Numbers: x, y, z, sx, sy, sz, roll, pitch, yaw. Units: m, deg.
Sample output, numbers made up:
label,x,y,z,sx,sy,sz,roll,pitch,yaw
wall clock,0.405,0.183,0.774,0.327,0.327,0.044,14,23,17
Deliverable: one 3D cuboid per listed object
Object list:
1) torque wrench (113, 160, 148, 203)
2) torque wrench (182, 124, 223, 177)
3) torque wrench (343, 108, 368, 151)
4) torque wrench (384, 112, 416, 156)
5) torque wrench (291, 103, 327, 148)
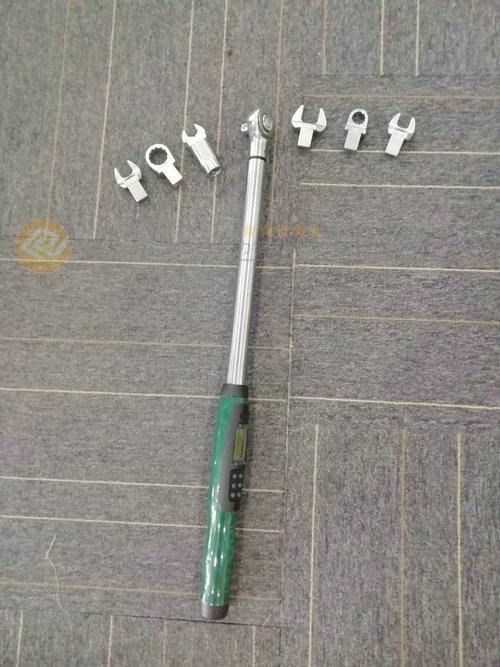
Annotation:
label,x,y,z,sx,sy,sz,roll,pitch,yaw
torque wrench,-0.233,-0.303,1.632,0.024,0.100,0.067,-22,89,-12
torque wrench,-0.094,-0.369,1.594,0.064,0.028,0.114,-35,85,13
torque wrench,0.214,-0.412,1.592,0.054,0.022,0.087,16,84,6
torque wrench,0.304,-0.397,1.589,0.060,0.022,0.087,23,99,7
torque wrench,0.122,-0.420,1.603,0.086,0.018,0.100,12,86,8
